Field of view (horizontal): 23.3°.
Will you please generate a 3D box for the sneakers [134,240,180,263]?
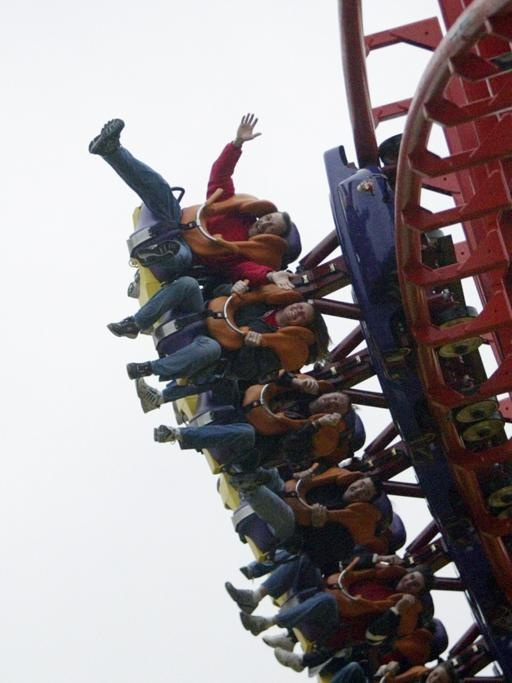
[{"bbox_3d":[-0.927,-0.816,11.429,0.407,0.167,0.116,-11,-32,6],"label":"sneakers"}]
